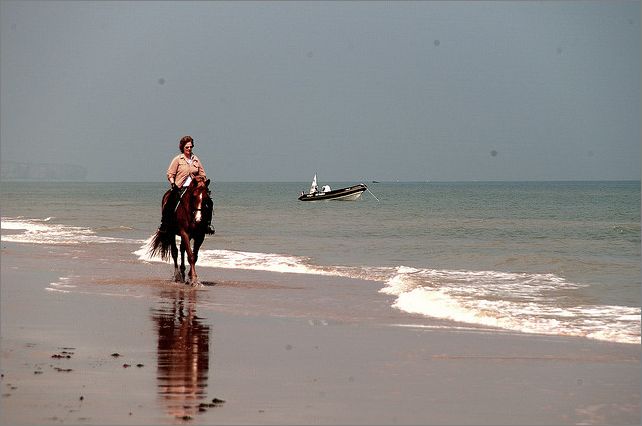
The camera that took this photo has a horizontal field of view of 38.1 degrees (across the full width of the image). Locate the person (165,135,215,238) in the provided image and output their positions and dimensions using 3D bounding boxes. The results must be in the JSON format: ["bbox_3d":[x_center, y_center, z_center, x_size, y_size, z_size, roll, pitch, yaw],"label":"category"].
[{"bbox_3d":[-3.592,-0.731,24.083,1.306,2.605,0.846,6,12,14],"label":"person"}]

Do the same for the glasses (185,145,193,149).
[{"bbox_3d":[-3.380,-1.681,23.805,0.207,0.065,0.185,-1,2,6],"label":"glasses"}]
